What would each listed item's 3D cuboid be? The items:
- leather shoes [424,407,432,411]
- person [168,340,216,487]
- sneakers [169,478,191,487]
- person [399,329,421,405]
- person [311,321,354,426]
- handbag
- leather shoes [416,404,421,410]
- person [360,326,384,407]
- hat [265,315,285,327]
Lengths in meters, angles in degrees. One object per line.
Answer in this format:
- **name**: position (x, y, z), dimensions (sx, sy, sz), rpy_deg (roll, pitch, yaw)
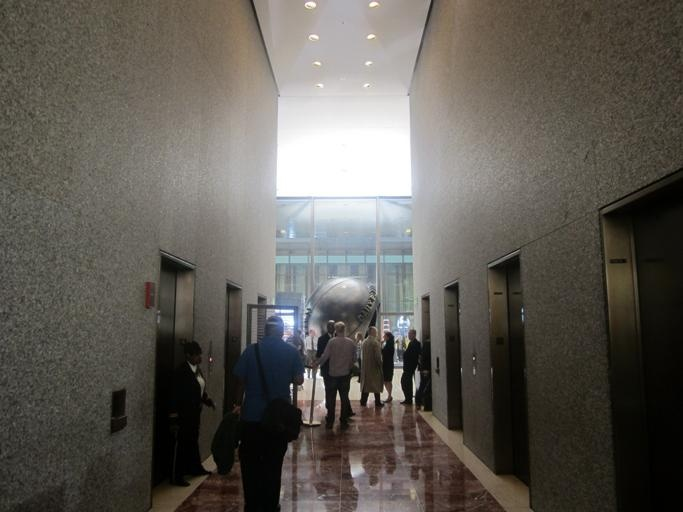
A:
- **leather shoes**: position (1.669, 2.925, 10.366), dimensions (0.126, 0.058, 0.222), rpy_deg (0, -6, -2)
- **person**: position (-1.641, 1.720, 6.034), dimensions (0.404, 1.533, 0.519), rpy_deg (0, -5, -2)
- **sneakers**: position (-1.753, 2.440, 5.899), dimensions (0.202, 0.080, 0.161), rpy_deg (2, -7, -24)
- **person**: position (1.436, 2.265, 11.115), dimensions (0.408, 1.545, 1.143), rpy_deg (-1, -6, 6)
- **person**: position (-0.067, 2.025, 8.801), dimensions (0.650, 1.442, 0.527), rpy_deg (3, -6, -30)
- **handbag**: position (-0.552, 1.127, 4.510), dimensions (0.428, 0.802, 0.293), rpy_deg (-1, -5, 6)
- **leather shoes**: position (1.526, 2.969, 10.735), dimensions (0.083, 0.036, 0.120), rpy_deg (1, -1, 3)
- **person**: position (0.582, 2.152, 10.428), dimensions (0.404, 1.587, 1.209), rpy_deg (-1, -6, 2)
- **hat**: position (-0.582, 0.573, 4.855), dimensions (0.118, 0.129, 0.101), rpy_deg (-6, 4, -12)
